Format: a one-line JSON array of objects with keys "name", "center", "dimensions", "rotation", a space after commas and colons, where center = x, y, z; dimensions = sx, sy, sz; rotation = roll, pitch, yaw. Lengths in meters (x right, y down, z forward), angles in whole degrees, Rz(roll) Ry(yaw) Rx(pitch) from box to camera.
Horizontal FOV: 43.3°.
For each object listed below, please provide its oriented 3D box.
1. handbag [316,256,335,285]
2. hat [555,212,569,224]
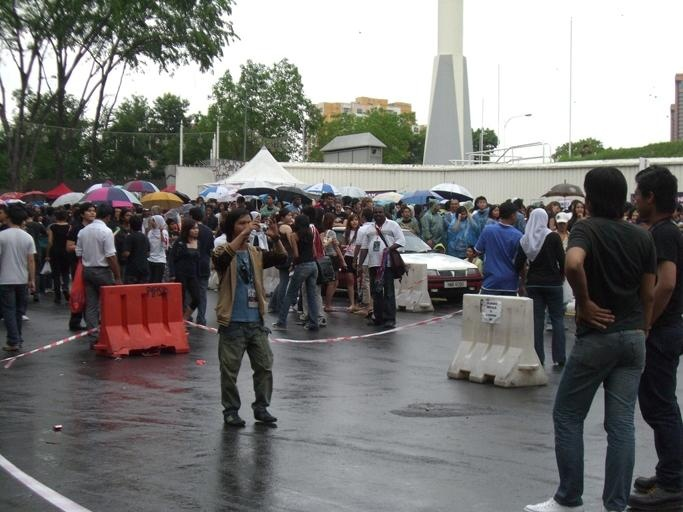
[{"name": "handbag", "center": [-0.275, 0.284, 15.773], "dimensions": [0.276, 0.564, 0.525], "rotation": [-4, -1, 23]}, {"name": "hat", "center": [3.582, -0.607, 14.103], "dimensions": [0.187, 0.114, 0.324], "rotation": [1, 7, 16]}]
